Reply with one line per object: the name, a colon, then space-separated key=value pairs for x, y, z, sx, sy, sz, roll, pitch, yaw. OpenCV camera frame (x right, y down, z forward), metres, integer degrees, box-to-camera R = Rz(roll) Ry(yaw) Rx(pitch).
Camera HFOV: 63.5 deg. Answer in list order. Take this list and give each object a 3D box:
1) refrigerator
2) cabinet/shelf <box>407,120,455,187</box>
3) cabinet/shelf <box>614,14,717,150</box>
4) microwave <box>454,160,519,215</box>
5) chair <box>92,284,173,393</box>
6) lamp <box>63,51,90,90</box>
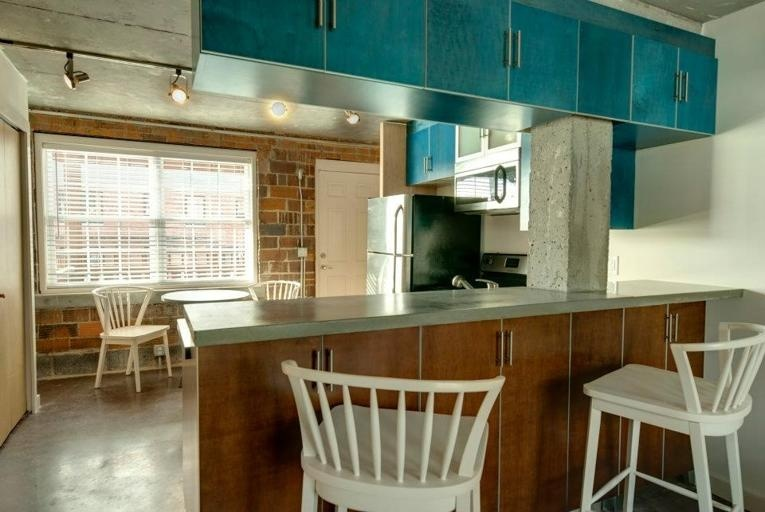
refrigerator: x=0.329 y=-0.107 z=6.261 sx=0.977 sy=1.680 sz=0.947 roll=0 pitch=3 yaw=-14
cabinet/shelf: x=0.526 y=-0.977 z=5.914 sx=0.289 sy=0.529 sz=0.661 roll=-3 pitch=4 yaw=-41
cabinet/shelf: x=1.839 y=-1.184 z=4.363 sx=1.009 sy=0.680 sz=0.556 roll=-1 pitch=3 yaw=-28
microwave: x=0.923 y=-0.587 z=5.235 sx=0.286 sy=0.385 sz=0.828 roll=-3 pitch=2 yaw=-32
chair: x=-2.405 y=0.748 z=5.907 sx=0.596 sy=0.903 sz=0.622 roll=4 pitch=7 yaw=28
lamp: x=-2.391 y=-1.445 z=4.797 sx=0.145 sy=0.252 sz=0.141 roll=-22 pitch=34 yaw=-38
